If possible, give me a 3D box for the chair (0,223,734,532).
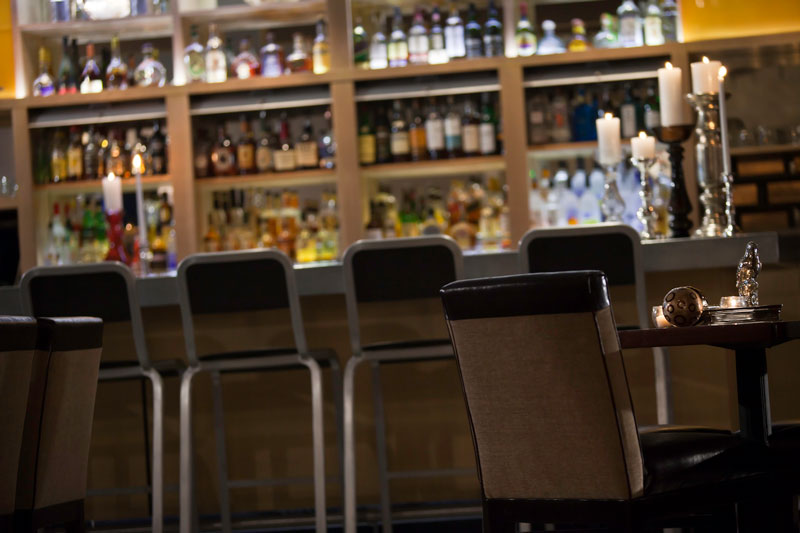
[{"bbox_3d":[-0.127,0.425,4.247,2.987,0.981,0.725,-4,-1,-7],"label":"chair"}]
